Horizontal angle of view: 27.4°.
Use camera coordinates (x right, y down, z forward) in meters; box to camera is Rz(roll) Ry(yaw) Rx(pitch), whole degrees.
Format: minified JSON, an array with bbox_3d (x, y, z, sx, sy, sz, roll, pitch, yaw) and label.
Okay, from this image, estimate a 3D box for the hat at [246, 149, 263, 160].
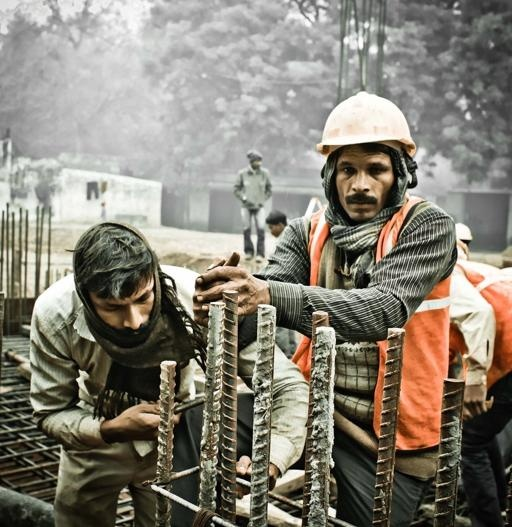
[{"bbox_3d":[-0.085,-1.722,16.567,0.320,0.154,0.280,1,2,32],"label":"hat"}]
